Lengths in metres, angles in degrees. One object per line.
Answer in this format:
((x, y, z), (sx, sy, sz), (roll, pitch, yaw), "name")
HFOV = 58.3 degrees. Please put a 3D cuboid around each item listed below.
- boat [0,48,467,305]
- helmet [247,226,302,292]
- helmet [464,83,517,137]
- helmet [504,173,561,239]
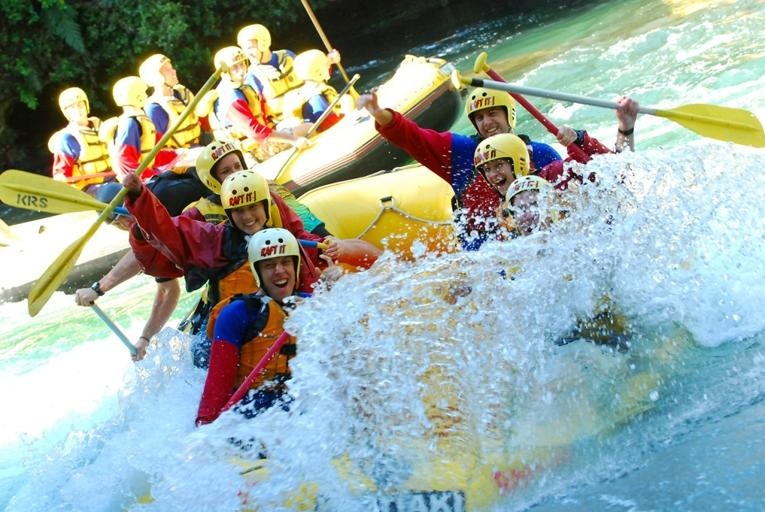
((-1.728, -0.107, 8.787), (5.860, 1.216, 2.730), (-18, 20, 19), "boat")
((-0.737, 0.023, 4.810), (0.314, 0.398, 0.412), (-6, -13, -8), "helmet")
((0.889, -1.179, 5.612), (0.297, 0.302, 0.394), (-13, 11, 24), "helmet")
((1.006, -0.337, 4.749), (0.316, 0.419, 0.421), (-19, 34, 9), "helmet")
